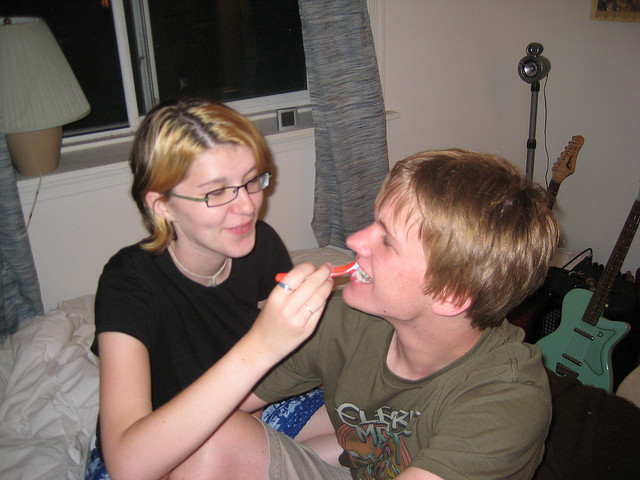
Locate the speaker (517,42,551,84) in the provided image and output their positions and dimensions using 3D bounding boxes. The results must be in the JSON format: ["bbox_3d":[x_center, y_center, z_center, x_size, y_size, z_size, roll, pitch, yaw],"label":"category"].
[{"bbox_3d":[1.287,-1.056,3.233,0.171,0.219,0.165,-11,22,-28],"label":"speaker"}]

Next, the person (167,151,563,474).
[{"bbox_3d":[0.172,0.159,2.022,1.091,1.347,1.028,8,21,9],"label":"person"}]

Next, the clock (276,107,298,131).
[{"bbox_3d":[-0.183,-0.673,3.024,0.132,0.118,0.017,-11,25,-23],"label":"clock"}]
